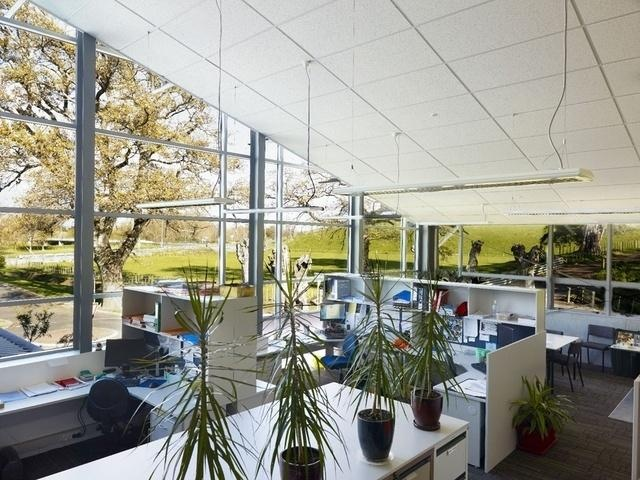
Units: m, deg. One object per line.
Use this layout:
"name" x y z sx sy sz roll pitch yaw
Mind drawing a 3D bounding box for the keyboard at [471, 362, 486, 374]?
"keyboard" 2.275 1.821 6.299 0.138 0.162 0.421 8 -10 3

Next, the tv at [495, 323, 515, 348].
"tv" 2.666 1.367 6.317 0.338 0.447 0.045 4 11 32

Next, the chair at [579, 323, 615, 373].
"chair" 5.728 2.194 9.029 0.554 0.882 0.819 2 -12 34

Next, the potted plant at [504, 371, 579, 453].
"potted plant" 2.837 2.308 6.109 0.993 0.973 0.985 -3 0 -38

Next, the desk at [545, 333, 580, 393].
"desk" 4.319 2.167 7.923 0.838 0.889 0.608 -2 4 -38

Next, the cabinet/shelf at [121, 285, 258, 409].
"cabinet/shelf" -1.439 1.204 4.879 0.770 1.454 1.827 -4 6 -43
